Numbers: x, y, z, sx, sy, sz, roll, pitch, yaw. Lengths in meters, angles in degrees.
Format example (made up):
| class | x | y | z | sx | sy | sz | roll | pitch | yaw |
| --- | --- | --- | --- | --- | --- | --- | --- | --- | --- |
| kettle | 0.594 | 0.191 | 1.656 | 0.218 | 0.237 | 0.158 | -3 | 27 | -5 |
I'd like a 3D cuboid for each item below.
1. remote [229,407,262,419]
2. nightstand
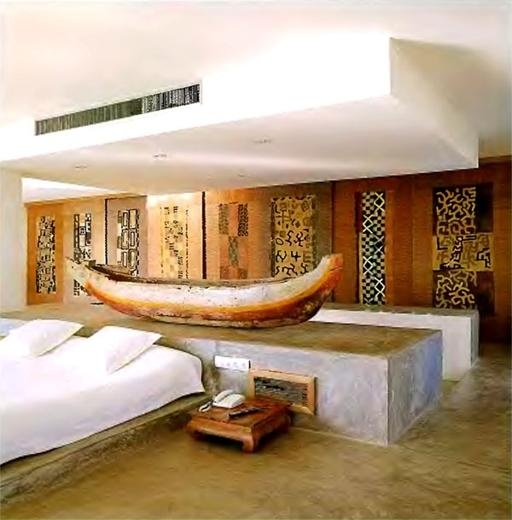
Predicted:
| class | x | y | z | sx | sy | sz | roll | pitch | yaw |
| --- | --- | --- | --- | --- | --- | --- | --- | --- | --- |
| remote | -0.062 | 0.842 | 2.445 | 0.113 | 0.014 | 0.058 | -4 | 2 | -28 |
| nightstand | -0.079 | 0.931 | 2.557 | 0.423 | 0.205 | 0.478 | 0 | 1 | 33 |
